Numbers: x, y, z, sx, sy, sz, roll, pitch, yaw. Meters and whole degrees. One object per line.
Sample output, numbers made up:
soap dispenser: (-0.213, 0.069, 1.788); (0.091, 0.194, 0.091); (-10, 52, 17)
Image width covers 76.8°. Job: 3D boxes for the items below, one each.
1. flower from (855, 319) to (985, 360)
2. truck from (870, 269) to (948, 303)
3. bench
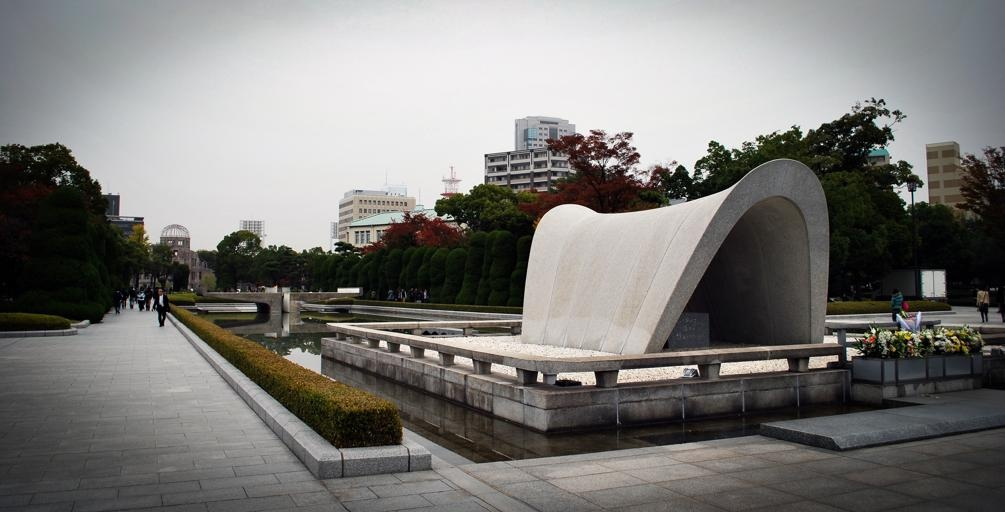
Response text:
flower: (11.130, 2.321, 17.120); (2.365, 0.700, 1.329); (-4, -5, -6)
truck: (27.161, 1.943, 42.118); (2.769, 2.333, 4.645); (1, 1, 8)
bench: (10.395, 2.089, 17.329); (2.746, 0.546, 1.245); (-7, -1, 25)
